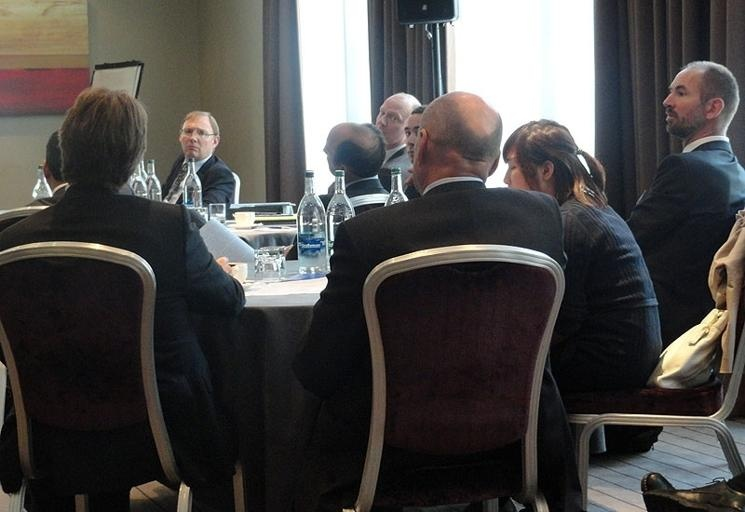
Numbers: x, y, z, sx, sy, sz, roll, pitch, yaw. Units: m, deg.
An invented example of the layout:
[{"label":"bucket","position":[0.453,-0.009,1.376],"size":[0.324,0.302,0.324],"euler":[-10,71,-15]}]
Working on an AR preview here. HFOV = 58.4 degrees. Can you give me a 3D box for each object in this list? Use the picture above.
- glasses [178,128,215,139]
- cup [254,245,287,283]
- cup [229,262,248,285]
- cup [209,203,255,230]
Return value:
[{"label":"glasses","position":[-1.321,-0.936,4.996],"size":[0.137,0.044,0.141],"euler":[1,-2,-4]},{"label":"cup","position":[-0.388,0.036,2.492],"size":[0.143,0.148,0.117],"euler":[0,-6,-10]},{"label":"cup","position":[-0.454,0.061,2.275],"size":[0.047,0.071,0.077],"euler":[6,14,42]},{"label":"cup","position":[-0.815,-0.253,3.888],"size":[0.244,0.087,0.183],"euler":[2,3,17]}]
